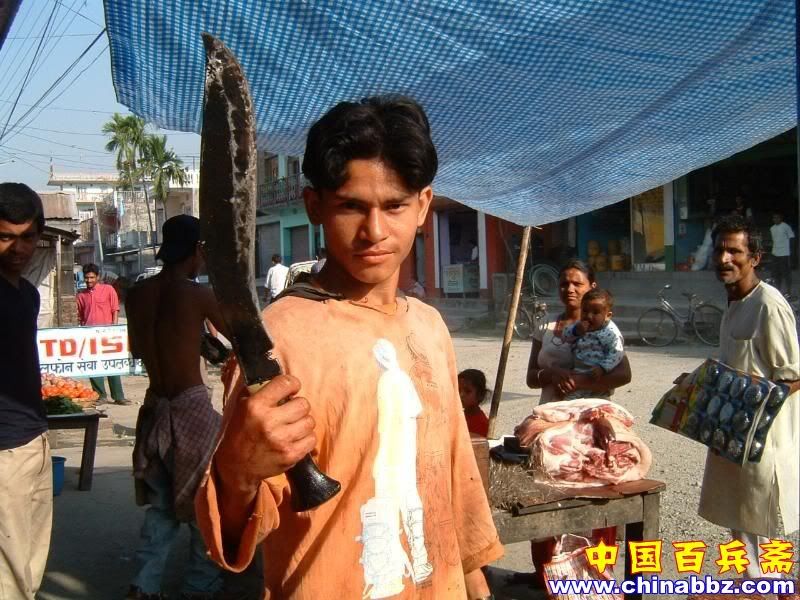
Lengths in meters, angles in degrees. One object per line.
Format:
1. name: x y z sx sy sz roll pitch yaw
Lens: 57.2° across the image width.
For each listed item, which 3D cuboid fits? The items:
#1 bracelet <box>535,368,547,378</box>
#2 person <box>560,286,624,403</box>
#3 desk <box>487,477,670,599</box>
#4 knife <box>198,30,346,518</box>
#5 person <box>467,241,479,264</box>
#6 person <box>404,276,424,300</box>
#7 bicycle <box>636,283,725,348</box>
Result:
1. bracelet: 1.020 0.531 5.311 0.022 0.058 0.043 18 4 -39
2. person: 1.350 0.300 5.044 0.388 0.748 0.381 1 2 14
3. desk: 0.979 1.095 4.162 0.925 0.634 0.709 -1 -2 -22
4. knife: -0.405 -0.079 2.261 0.305 1.539 0.229 -8 2 11
5. person: 2.279 -1.504 23.176 0.402 0.511 1.633 13 10 4
6. person: 0.458 -0.343 22.021 0.580 0.371 0.746 6 -5 -10
7. bicycle: 5.457 0.310 14.194 2.018 1.134 0.788 -3 -9 -15
